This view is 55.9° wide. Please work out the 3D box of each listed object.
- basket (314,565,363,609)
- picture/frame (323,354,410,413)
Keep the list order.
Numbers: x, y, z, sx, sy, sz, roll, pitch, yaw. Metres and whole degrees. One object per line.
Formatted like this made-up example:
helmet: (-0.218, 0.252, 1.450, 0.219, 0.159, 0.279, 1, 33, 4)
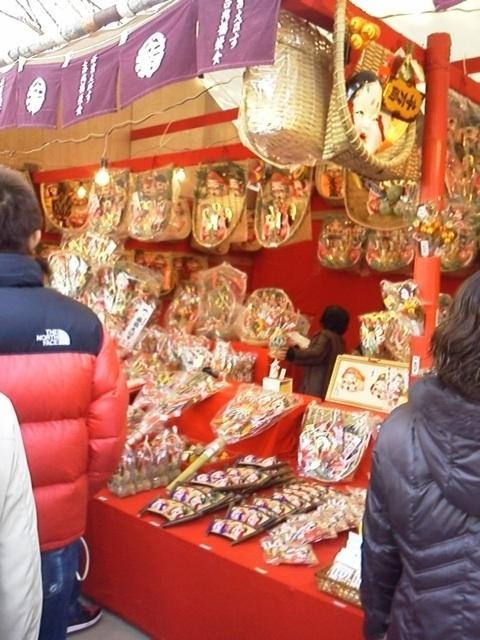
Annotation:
basket: (0.276, 0.764, 1.279, 0.057, 0.057, 0.176, -9, 7, -28)
picture/frame: (0.696, 0.343, 2.409, 0.474, 0.248, 0.031, 11, -2, -17)
